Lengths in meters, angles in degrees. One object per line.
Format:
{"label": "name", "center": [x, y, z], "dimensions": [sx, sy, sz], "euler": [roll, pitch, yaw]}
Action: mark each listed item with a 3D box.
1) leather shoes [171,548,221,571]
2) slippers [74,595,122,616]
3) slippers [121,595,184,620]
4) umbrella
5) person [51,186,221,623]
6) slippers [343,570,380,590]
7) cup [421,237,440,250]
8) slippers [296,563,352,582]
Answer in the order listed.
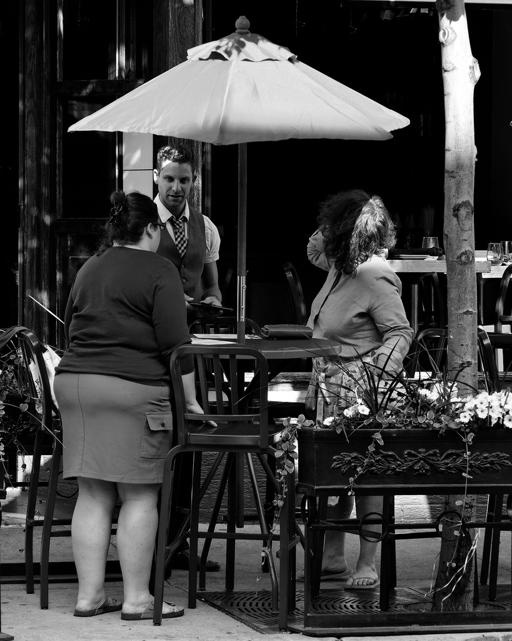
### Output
{"label": "leather shoes", "center": [-0.262, 1.110, 7.295], "dimensions": [0.190, 0.095, 0.129], "euler": [15, 20, 2]}
{"label": "slippers", "center": [-0.642, 1.152, 6.465], "dimensions": [0.188, 0.084, 0.068], "euler": [-4, 5, -45]}
{"label": "slippers", "center": [-0.413, 1.179, 6.411], "dimensions": [0.216, 0.086, 0.206], "euler": [1, -2, 30]}
{"label": "umbrella", "center": [-0.022, -0.515, 7.183], "dimensions": [1.330, 1.419, 1.342], "euler": [5, 9, 28]}
{"label": "person", "center": [-0.518, 0.340, 6.460], "dimensions": [0.610, 1.757, 0.338], "euler": [1, -2, 3]}
{"label": "slippers", "center": [0.474, 1.140, 6.906], "dimensions": [0.068, 0.059, 0.144], "euler": [-4, -8, 42]}
{"label": "cup", "center": [1.353, -0.577, 11.997], "dimensions": [0.128, 0.149, 0.143], "euler": [0, 0, 4]}
{"label": "slippers", "center": [0.314, 1.118, 7.110], "dimensions": [0.252, 0.113, 0.097], "euler": [0, 0, -11]}
